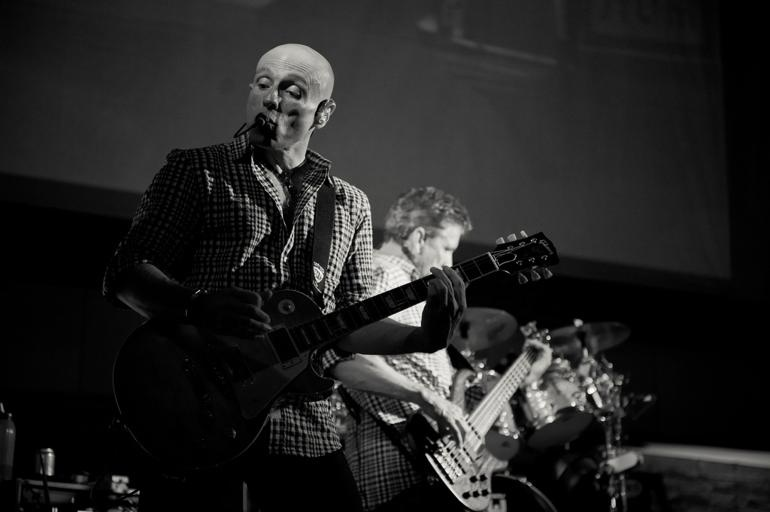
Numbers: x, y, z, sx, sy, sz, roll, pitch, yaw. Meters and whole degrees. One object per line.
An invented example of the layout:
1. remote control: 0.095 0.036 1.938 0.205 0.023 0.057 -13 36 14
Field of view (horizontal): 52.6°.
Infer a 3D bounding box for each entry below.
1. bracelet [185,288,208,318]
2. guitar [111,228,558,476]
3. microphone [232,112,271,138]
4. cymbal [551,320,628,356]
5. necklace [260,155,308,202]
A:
1. bracelet: -0.709 0.174 2.913 0.073 0.103 0.026 43 -12 -35
2. guitar: -0.246 0.448 3.386 1.327 0.476 0.162 -26 -1 -20
3. microphone: -0.535 -0.526 3.141 0.142 0.084 0.056 -21 -2 0
4. cymbal: 1.261 0.526 4.944 0.533 0.204 0.174 3 -3 -14
5. necklace: -0.431 -0.341 3.290 0.181 0.155 0.206 -38 22 -23
